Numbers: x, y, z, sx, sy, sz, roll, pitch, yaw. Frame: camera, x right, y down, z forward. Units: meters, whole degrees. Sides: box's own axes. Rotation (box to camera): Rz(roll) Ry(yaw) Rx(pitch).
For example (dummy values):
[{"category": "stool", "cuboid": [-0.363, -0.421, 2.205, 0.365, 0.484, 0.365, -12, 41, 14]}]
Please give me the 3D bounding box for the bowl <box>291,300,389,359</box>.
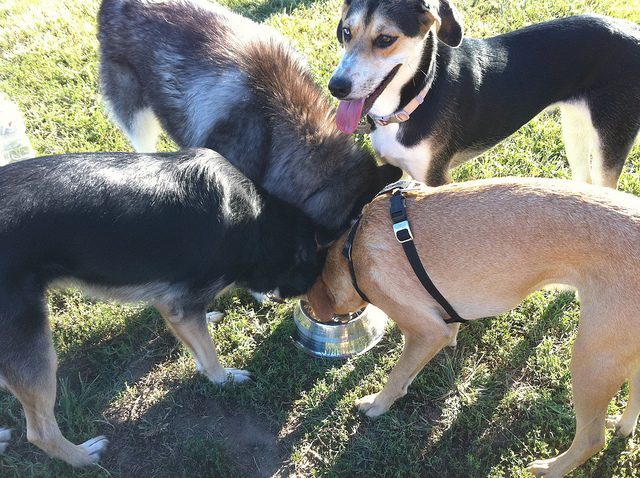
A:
[{"category": "bowl", "cuboid": [0.132, 0.576, 4.631, 0.741, 0.240, 0.781, -6, 30, 4]}]
